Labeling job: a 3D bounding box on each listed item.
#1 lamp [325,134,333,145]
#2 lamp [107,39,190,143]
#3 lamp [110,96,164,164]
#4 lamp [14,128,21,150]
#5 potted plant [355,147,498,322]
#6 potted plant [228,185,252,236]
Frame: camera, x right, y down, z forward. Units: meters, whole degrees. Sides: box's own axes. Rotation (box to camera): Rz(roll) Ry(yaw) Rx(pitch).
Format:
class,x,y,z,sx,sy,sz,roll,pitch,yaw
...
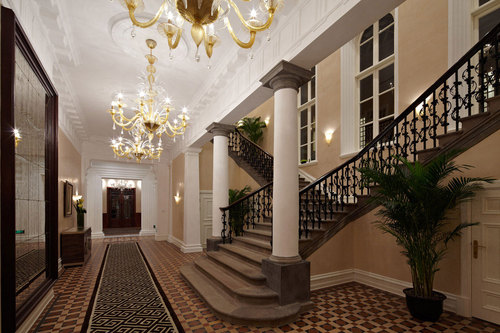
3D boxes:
class,x,y,z,sx,sy,sz,roll,pitch,yaw
lamp,2.669,-0.883,10.559,0.263,0.314,0.261,11,-13,-34
lamp,-2.485,-1.839,7.962,1.640,2.140,1.718,0,-12,-13
lamp,-3.702,-1.178,10.533,1.697,1.966,1.478,-4,-6,19
lamp,-3.905,-0.483,5.358,0.070,0.296,0.521,-1,0,-31
potted plant,3.293,1.328,6.176,1.942,3.172,1.277,-1,0,-14
potted plant,-0.567,1.519,10.941,1.286,1.851,1.278,0,0,-3
